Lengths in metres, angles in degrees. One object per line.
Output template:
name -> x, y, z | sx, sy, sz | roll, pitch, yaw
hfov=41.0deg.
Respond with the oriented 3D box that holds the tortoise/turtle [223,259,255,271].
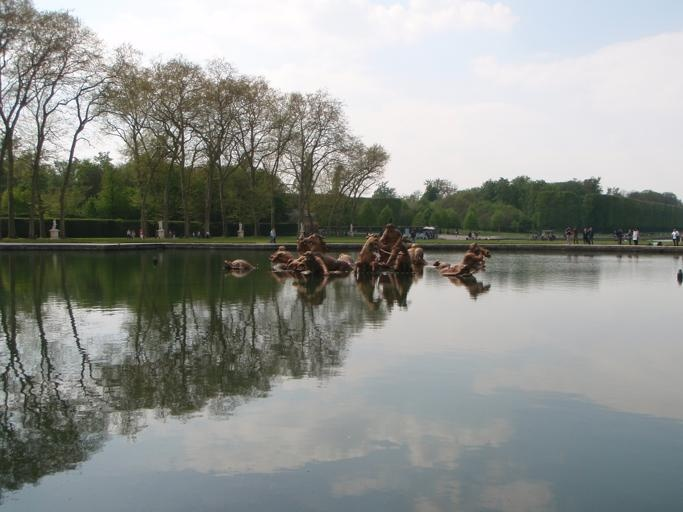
tortoise/turtle -> -3.311, 0.325, 29.816 | 0.887, 0.355, 1.414 | -1, 1, -4
